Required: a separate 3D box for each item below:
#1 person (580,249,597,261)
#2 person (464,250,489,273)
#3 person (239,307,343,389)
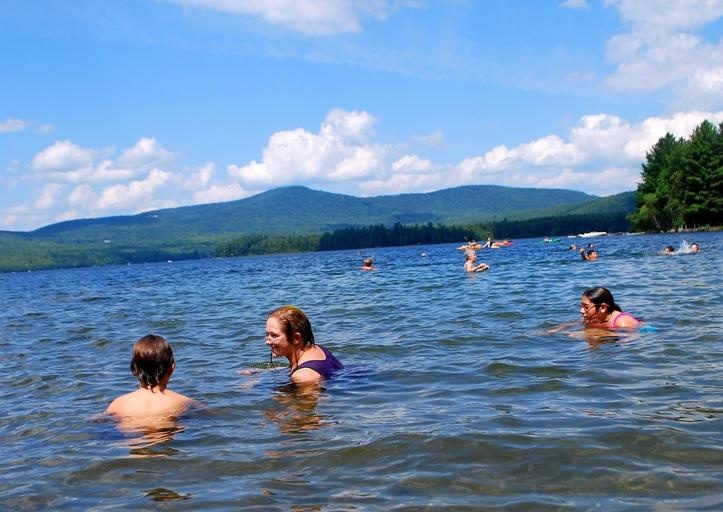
[{"bbox_3d":[14.396,-0.025,43.818,0.773,0.695,2.114,1,4,12],"label":"person"},{"bbox_3d":[7.740,0.389,46.528,0.879,1.114,1.529,-13,25,4],"label":"person"},{"bbox_3d":[-1.326,1.794,13.810,1.366,1.166,1.910,0,5,18],"label":"person"}]
